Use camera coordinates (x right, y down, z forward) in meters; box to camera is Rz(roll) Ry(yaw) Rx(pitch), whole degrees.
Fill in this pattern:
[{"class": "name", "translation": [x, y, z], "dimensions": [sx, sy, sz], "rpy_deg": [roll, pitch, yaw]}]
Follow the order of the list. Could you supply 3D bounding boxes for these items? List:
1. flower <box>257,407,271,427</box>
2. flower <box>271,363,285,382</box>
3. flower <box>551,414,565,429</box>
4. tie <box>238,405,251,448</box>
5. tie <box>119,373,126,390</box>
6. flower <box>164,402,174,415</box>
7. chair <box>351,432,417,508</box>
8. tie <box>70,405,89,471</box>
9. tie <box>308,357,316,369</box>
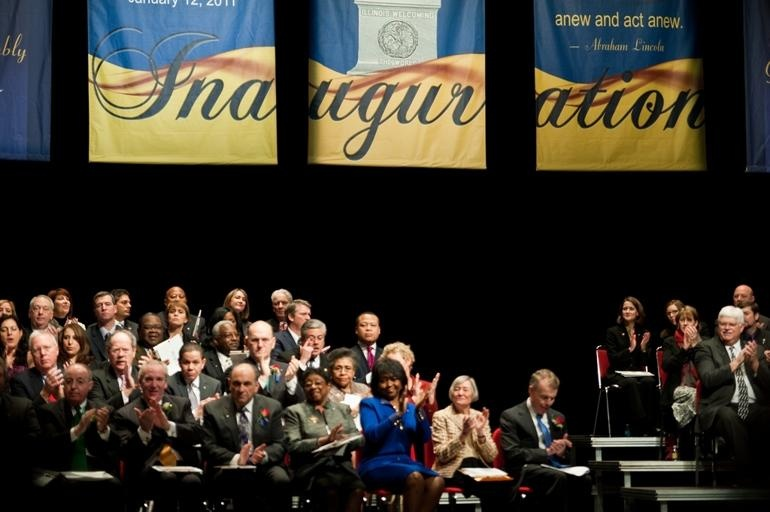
[{"class": "flower", "translation": [-1.109, 1.473, 9.559], "dimensions": [0.030, 0.119, 0.117], "rpy_deg": [-1, 3, 42]}, {"class": "flower", "translation": [-1.056, 1.164, 10.404], "dimensions": [0.143, 0.148, 0.111], "rpy_deg": [-4, 4, -26]}, {"class": "flower", "translation": [1.712, 1.625, 10.233], "dimensions": [0.112, 0.096, 0.127], "rpy_deg": [4, -8, -14]}, {"class": "tie", "translation": [-1.294, 1.549, 9.530], "dimensions": [0.116, 0.324, 0.028], "rpy_deg": [-2, -7, 14]}, {"class": "tie", "translation": [-2.564, 1.227, 10.112], "dimensions": [0.094, 0.132, 0.042], "rpy_deg": [2, -5, -41]}, {"class": "flower", "translation": [-2.029, 1.415, 9.680], "dimensions": [0.095, 0.125, 0.155], "rpy_deg": [0, -7, -6]}, {"class": "chair", "translation": [0.050, 1.931, 9.490], "dimensions": [0.604, 0.724, 0.307], "rpy_deg": [-1, -7, 3]}, {"class": "tie", "translation": [-2.770, 1.639, 9.436], "dimensions": [0.153, 0.583, 0.062], "rpy_deg": [2, -7, -16]}, {"class": "tie", "translation": [-0.746, 1.118, 10.832], "dimensions": [0.090, 0.121, 0.067], "rpy_deg": [2, -13, -4]}]
